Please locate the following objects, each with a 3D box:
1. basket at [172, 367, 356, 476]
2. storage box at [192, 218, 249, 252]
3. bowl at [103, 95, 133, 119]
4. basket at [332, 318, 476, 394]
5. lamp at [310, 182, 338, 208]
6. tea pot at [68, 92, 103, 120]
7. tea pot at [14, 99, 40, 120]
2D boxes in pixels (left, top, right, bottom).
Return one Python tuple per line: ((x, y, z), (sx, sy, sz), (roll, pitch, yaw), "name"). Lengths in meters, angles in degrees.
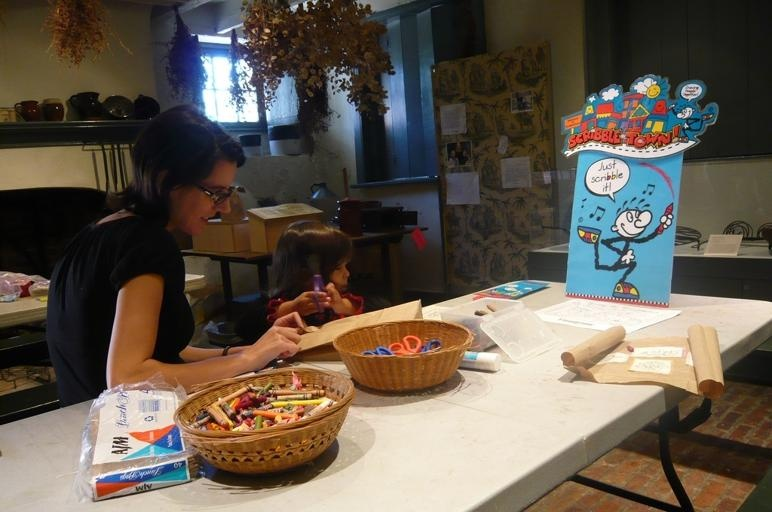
((-0.295, 0.421, 1.323), (0.437, 0.174, 0.291), (-5, 11, -4), "basket")
((-1.350, -0.165, 4.346), (0.446, 0.192, 0.332), (1, 7, 20), "storage box")
((-2.733, -1.520, 5.320), (0.269, 0.265, 0.095), (-27, -3, -29), "bowl")
((0.054, 0.303, 1.614), (0.413, 0.146, 0.424), (-2, -24, 7), "basket")
((-0.730, -0.700, 6.084), (0.341, 0.207, 0.303), (-1, 3, 28), "lamp")
((-3.038, -1.501, 5.218), (0.328, 0.305, 0.243), (-5, 14, -34), "tea pot")
((-3.351, -1.358, 4.867), (0.230, 0.202, 0.165), (-2, 10, -27), "tea pot")
